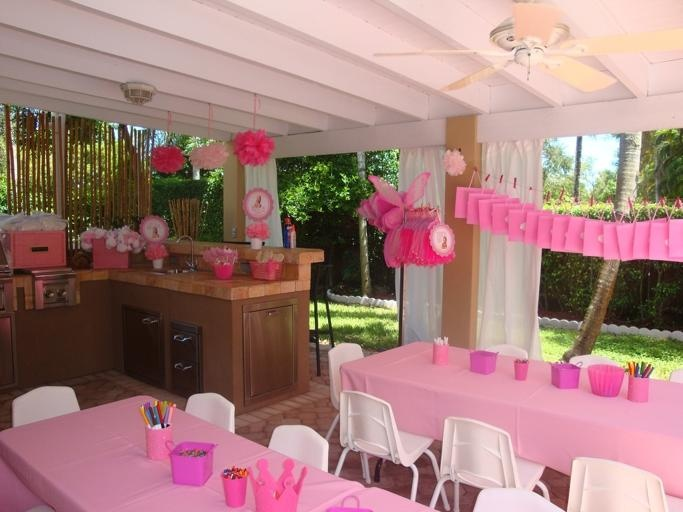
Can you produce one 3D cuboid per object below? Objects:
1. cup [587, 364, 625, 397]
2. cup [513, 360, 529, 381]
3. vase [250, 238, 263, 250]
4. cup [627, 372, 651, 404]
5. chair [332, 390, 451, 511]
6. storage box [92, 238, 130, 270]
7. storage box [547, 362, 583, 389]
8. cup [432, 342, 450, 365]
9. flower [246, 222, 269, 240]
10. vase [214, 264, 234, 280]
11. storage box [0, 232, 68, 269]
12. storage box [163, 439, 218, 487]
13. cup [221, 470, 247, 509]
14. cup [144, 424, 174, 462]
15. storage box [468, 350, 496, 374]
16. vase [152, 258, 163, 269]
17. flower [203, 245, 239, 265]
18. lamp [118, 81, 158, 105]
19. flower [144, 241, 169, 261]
[{"bbox_3d":[1.708,0.810,3.251,0.202,0.163,0.189,-2,3,0],"label":"cup"},{"bbox_3d":[1.264,0.801,3.542,0.109,0.144,0.116,-1,-1,0],"label":"cup"},{"bbox_3d":[-0.937,-0.133,5.603,0.086,0.106,0.143,0,1,12],"label":"vase"},{"bbox_3d":[1.893,0.844,3.261,0.143,0.167,0.133,-1,6,0],"label":"cup"},{"bbox_3d":[0.349,1.246,3.264,0.639,0.917,0.564,5,13,37],"label":"chair"},{"bbox_3d":[-2.772,-0.028,6.130,0.359,0.296,0.379,0,4,-3],"label":"storage box"},{"bbox_3d":[1.513,0.790,3.425,0.182,0.140,0.135,-6,7,-35],"label":"storage box"},{"bbox_3d":[0.766,0.747,3.872,0.135,0.153,0.128,-1,3,0],"label":"cup"},{"bbox_3d":[-0.912,-0.264,5.474,0.187,0.178,0.183,0,5,-17],"label":"flower"},{"bbox_3d":[-1.216,0.161,5.265,0.157,0.130,0.163,3,-1,-39],"label":"vase"},{"bbox_3d":[-3.289,-0.064,5.444,0.574,0.429,0.159,-8,10,-34],"label":"storage box"},{"bbox_3d":[-0.696,0.962,2.341,0.212,0.151,0.162,1,-5,-1],"label":"storage box"},{"bbox_3d":[-0.460,1.005,2.231,0.124,0.150,0.124,-2,8,0],"label":"cup"},{"bbox_3d":[-0.901,0.926,2.548,0.147,0.183,0.155,1,-2,0],"label":"cup"},{"bbox_3d":[1.049,0.765,3.740,0.154,0.122,0.156,-1,3,-36],"label":"storage box"},{"bbox_3d":[-2.201,0.091,6.111,0.111,0.135,0.118,6,8,27],"label":"vase"},{"bbox_3d":[-1.276,-0.002,5.378,0.350,0.174,0.372,-4,9,-16],"label":"flower"},{"bbox_3d":[-2.043,-1.610,5.076,0.217,0.115,0.228,3,14,17],"label":"lamp"},{"bbox_3d":[-2.252,-0.064,6.146,0.251,0.213,0.326,-6,9,-25],"label":"flower"}]
